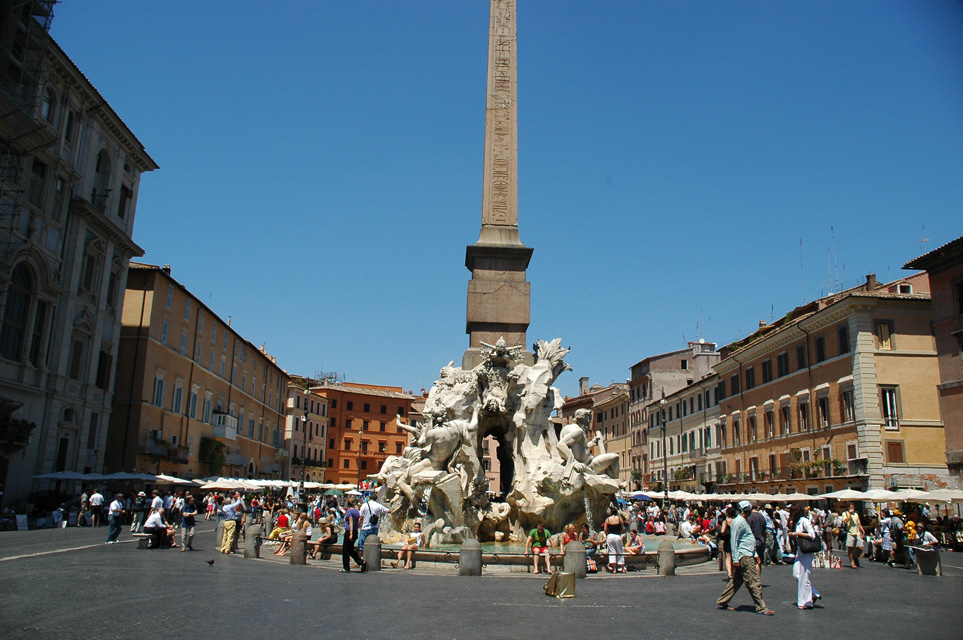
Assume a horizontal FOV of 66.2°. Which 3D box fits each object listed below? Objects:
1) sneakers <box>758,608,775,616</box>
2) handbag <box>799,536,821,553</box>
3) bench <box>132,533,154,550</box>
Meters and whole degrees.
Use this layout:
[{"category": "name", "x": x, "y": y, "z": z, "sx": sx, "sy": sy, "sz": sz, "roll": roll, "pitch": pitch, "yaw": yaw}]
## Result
[{"category": "sneakers", "x": 5.621, "y": 5.737, "z": 14.561, "sx": 0.125, "sy": 0.228, "sz": 0.334, "roll": 13, "pitch": -26, "yaw": -33}, {"category": "handbag", "x": 6.771, "y": 4.651, "z": 15.251, "sx": 0.365, "sy": 0.295, "sz": 0.237, "roll": -2, "pitch": -21, "yaw": 9}, {"category": "bench", "x": -10.345, "y": 6.710, "z": 22.437, "sx": 0.520, "sy": 0.335, "sz": 0.700, "roll": 4, "pitch": -18, "yaw": -10}]
